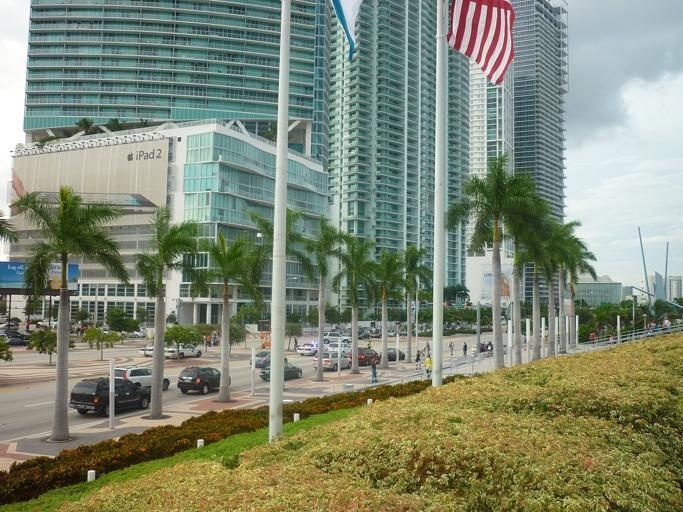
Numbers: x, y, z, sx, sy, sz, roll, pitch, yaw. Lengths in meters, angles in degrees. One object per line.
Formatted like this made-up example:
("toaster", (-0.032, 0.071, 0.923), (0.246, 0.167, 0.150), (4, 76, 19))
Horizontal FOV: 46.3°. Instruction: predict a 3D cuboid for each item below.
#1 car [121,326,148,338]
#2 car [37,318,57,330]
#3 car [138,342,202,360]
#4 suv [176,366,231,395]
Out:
("car", (-25.512, 9.811, 98.350), (2.790, 1.777, 1.964), (-3, -2, 1))
("car", (-35.818, 8.450, 97.121), (2.988, 1.162, 1.442), (5, -2, 33))
("car", (-16.000, 9.293, 76.374), (3.170, 1.654, 5.351), (-2, 2, 36))
("suv", (-9.781, 9.062, 57.230), (1.574, 1.585, 3.728), (-1, -1, 25))
